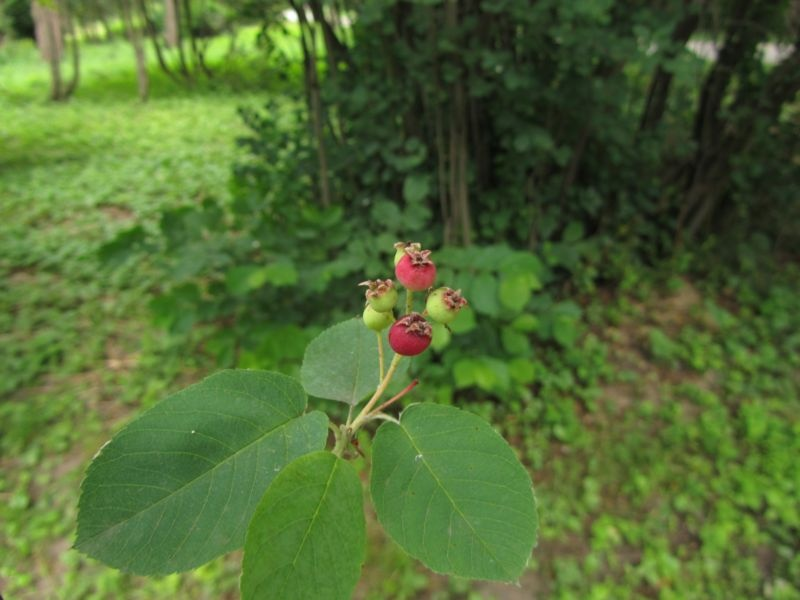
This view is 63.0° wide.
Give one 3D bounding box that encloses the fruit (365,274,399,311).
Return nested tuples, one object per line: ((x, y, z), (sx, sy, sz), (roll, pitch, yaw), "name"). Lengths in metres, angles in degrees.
((-0.071, -0.040, 2.548), (0.133, 0.128, 0.146), (2, 38, -3), "fruit")

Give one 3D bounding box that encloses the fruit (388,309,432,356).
((0.035, 0.142, 2.549), (0.171, 0.193, 0.163), (5, -1, -17), "fruit")

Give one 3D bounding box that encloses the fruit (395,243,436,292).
((0.060, -0.123, 2.566), (0.151, 0.119, 0.189), (-4, 60, -8), "fruit")

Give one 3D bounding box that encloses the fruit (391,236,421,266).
((0.035, -0.185, 2.571), (0.102, 0.050, 0.106), (10, 43, 33), "fruit")

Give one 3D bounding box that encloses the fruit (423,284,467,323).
((0.171, 0.016, 2.562), (0.149, 0.117, 0.123), (-17, 46, 45), "fruit")
